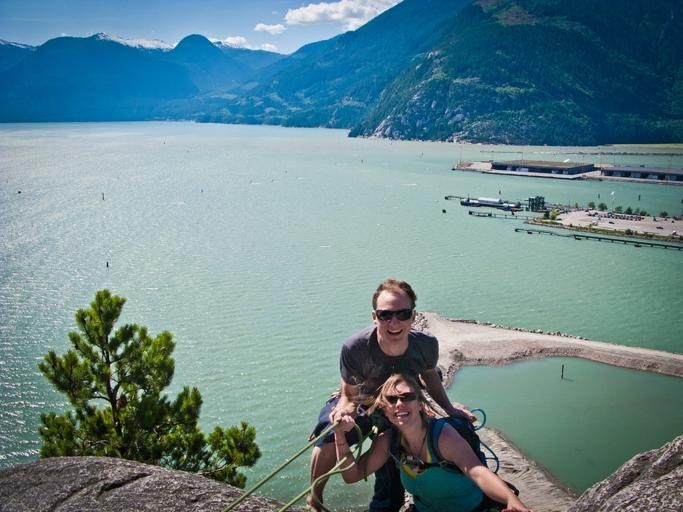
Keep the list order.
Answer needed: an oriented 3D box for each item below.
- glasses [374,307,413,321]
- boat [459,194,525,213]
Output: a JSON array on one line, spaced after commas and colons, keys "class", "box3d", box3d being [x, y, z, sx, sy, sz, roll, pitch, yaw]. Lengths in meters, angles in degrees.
[{"class": "glasses", "box3d": [0.860, 0.947, 9.139, 0.606, 0.209, 0.112, -2, 13, -2]}, {"class": "boat", "box3d": [22.096, -7.679, 83.273, 6.919, 1.298, 3.533, 6, 14, 25]}]
